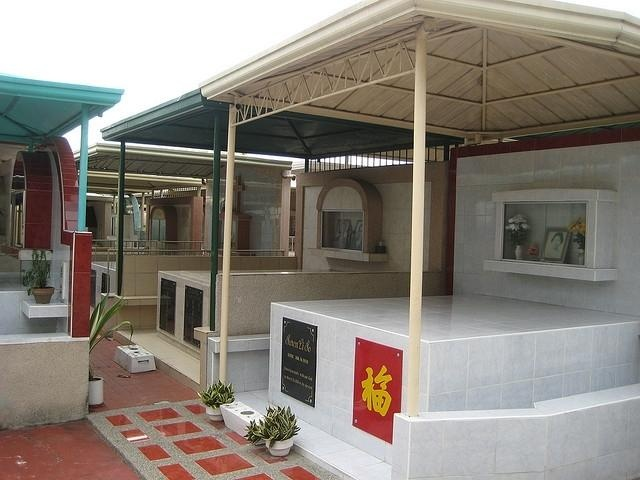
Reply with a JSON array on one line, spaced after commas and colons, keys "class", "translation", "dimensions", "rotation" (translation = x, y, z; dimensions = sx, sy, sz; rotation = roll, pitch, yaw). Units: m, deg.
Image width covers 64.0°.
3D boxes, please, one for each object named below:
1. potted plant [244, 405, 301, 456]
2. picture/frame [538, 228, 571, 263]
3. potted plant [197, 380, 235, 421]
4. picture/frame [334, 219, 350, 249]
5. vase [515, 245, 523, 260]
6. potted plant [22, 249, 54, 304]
[{"class": "potted plant", "translation": [-0.544, 2.323, 6.115], "dimensions": [0.557, 0.428, 0.545], "rotation": [-14, 3, -25]}, {"class": "picture/frame", "translation": [3.824, 0.081, 8.270], "dimensions": [0.050, 0.646, 0.465], "rotation": [5, 7, -31]}, {"class": "potted plant", "translation": [-1.442, 2.253, 7.072], "dimensions": [0.485, 0.501, 0.469], "rotation": [2, -6, -22]}, {"class": "picture/frame", "translation": [0.577, -0.138, 12.058], "dimensions": [0.149, 0.673, 0.512], "rotation": [-5, 6, -33]}, {"class": "vase", "translation": [3.417, 0.213, 8.767], "dimensions": [0.183, 0.347, 0.176], "rotation": [0, 1, 22]}, {"class": "potted plant", "translation": [-4.290, 0.581, 7.763], "dimensions": [0.364, 0.819, 0.461], "rotation": [-6, -2, -1]}]
